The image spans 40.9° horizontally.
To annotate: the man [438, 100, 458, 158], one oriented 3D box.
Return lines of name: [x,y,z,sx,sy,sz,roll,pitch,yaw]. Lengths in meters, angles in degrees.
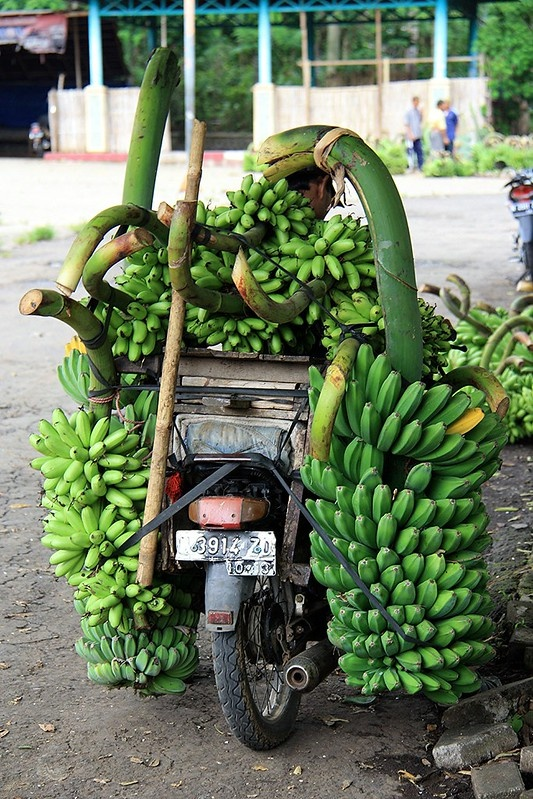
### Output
man: [4.842,-7.369,19.478,0.565,1.602,0.536,-4,-17,15]

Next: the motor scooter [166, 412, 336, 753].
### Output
motor scooter: [-0.052,0.627,2.418,0.569,1.150,0.585,-1,3,-1]

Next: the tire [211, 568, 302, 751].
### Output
tire: [-0.025,0.840,2.338,0.212,0.591,0.691,0,2,10]
